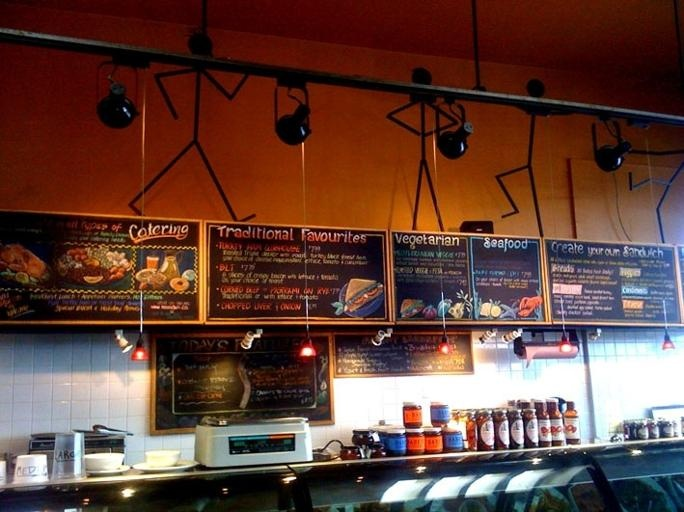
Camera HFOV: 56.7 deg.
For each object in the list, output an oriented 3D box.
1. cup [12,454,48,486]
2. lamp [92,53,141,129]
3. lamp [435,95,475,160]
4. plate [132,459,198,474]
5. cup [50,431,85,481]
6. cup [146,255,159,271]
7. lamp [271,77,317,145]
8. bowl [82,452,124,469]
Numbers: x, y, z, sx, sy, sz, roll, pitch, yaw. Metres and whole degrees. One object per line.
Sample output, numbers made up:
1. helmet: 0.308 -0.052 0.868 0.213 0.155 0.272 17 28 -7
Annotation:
1. cup: -1.753 1.191 3.576 0.161 0.140 0.187 3 -16 -27
2. lamp: -1.396 -1.005 3.948 0.264 0.438 0.172 2 -5 -31
3. lamp: 0.785 -0.917 4.525 0.233 0.453 0.247 5 24 35
4. plate: -1.104 1.324 4.001 0.392 0.061 0.461 3 -16 -28
5. cup: -1.541 1.126 3.587 0.164 0.252 0.239 2 -16 -22
6. cup: -1.331 0.044 4.485 0.080 0.097 0.084 0 -14 0
7. lamp: -0.317 -0.956 4.208 0.240 0.432 0.246 -17 27 -28
8. bowl: -1.449 1.240 3.848 0.161 0.069 0.164 -1 -11 0
